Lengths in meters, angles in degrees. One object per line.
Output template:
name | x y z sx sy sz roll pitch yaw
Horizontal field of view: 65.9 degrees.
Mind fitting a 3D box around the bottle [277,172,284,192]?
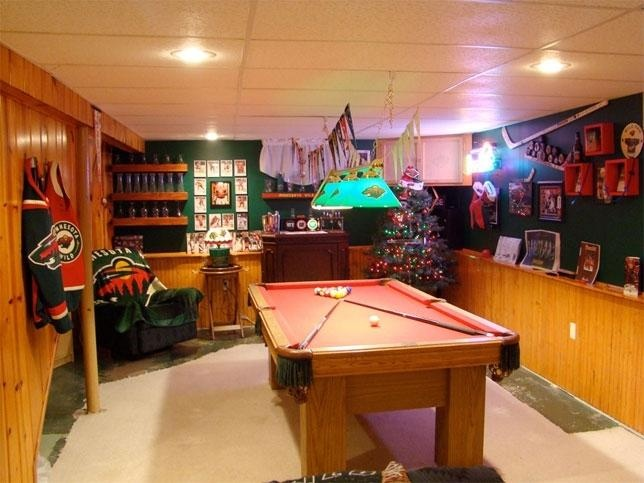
bottle | -0.624 -0.889 7.478 0.102 0.272 0.082 -1 10 -1

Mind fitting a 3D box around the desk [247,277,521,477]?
desk | 0.348 0.867 4.157 1.337 0.817 1.827 -2 2 -14

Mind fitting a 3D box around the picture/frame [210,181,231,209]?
picture/frame | -1.546 -0.724 7.499 0.414 0.503 0.036 0 3 -11

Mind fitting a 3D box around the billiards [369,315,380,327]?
billiards | 0.417 0.627 3.921 0.075 0.075 0.066 -13 -6 -35

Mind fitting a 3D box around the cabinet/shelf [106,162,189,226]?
cabinet/shelf | -2.539 -0.690 7.085 0.931 0.772 0.304 0 5 -4

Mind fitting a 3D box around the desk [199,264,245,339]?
desk | -1.398 0.791 7.071 0.608 0.958 0.724 -3 10 -12

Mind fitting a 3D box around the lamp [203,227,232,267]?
lamp | -1.500 0.060 7.136 0.521 0.631 0.516 -3 6 -30
